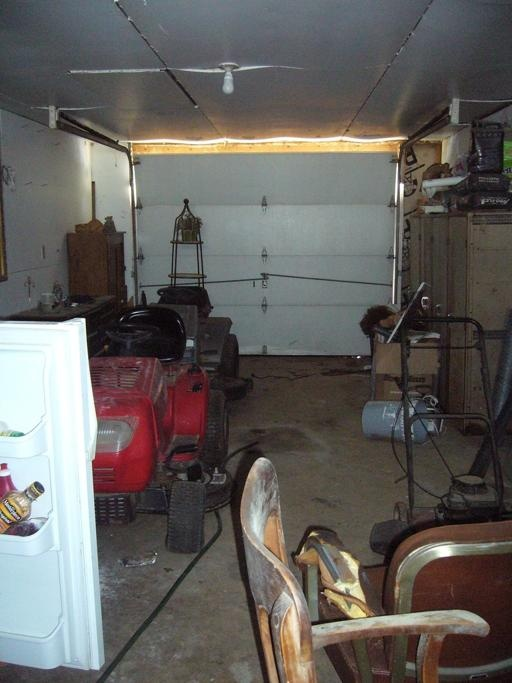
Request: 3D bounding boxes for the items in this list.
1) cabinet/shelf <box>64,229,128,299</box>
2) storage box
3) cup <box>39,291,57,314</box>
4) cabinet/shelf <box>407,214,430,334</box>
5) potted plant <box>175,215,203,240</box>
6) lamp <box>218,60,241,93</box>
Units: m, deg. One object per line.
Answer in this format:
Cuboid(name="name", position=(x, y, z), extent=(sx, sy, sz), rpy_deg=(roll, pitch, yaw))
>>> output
Cuboid(name="cabinet/shelf", position=(-2.070, -0.967, 7.247), extent=(0.651, 0.971, 0.874), rpy_deg=(-2, 9, -8))
Cuboid(name="storage box", position=(1.374, 0.230, 5.263), extent=(0.781, 0.713, 0.561), rpy_deg=(0, 2, 3))
Cuboid(name="cup", position=(-2.136, -0.401, 5.803), extent=(0.127, 0.191, 0.219), rpy_deg=(-6, 10, -25))
Cuboid(name="cabinet/shelf", position=(1.629, -0.684, 5.638), extent=(0.234, 1.136, 0.549), rpy_deg=(1, 10, 15))
Cuboid(name="potted plant", position=(-0.957, -1.623, 8.089), extent=(0.368, 0.409, 0.288), rpy_deg=(-2, 9, -7))
Cuboid(name="lamp", position=(-0.227, -1.970, 4.148), extent=(0.153, 0.197, 0.145), rpy_deg=(-11, 54, -12))
